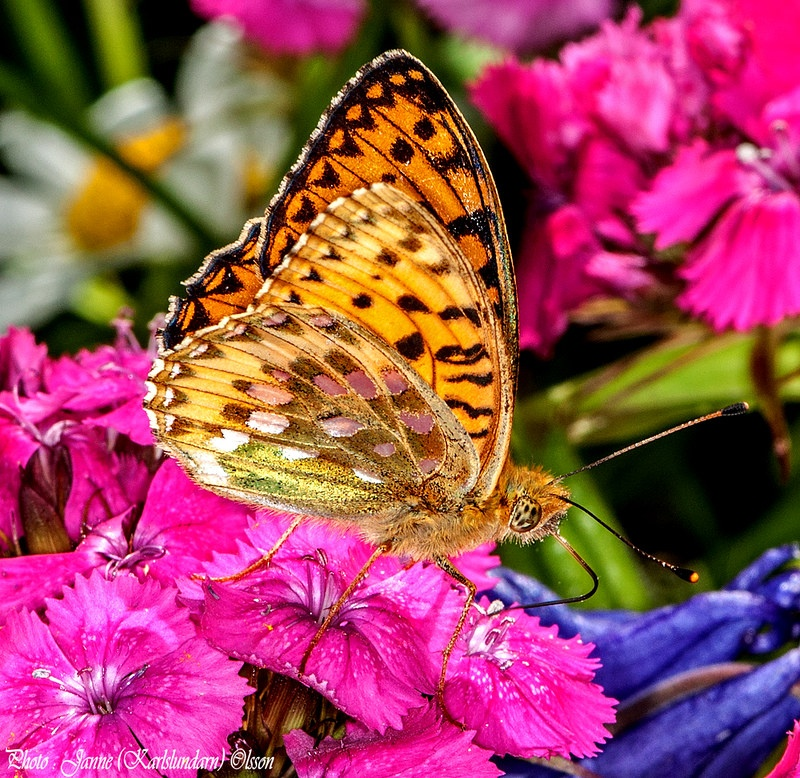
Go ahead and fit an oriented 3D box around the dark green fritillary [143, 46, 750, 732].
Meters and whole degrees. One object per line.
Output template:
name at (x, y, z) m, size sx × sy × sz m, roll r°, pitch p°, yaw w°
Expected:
dark green fritillary at (-0.015, 0.002, 0.843) m, size 0.342 × 0.230 × 0.370 m, roll 42°, pitch 72°, yaw 12°
